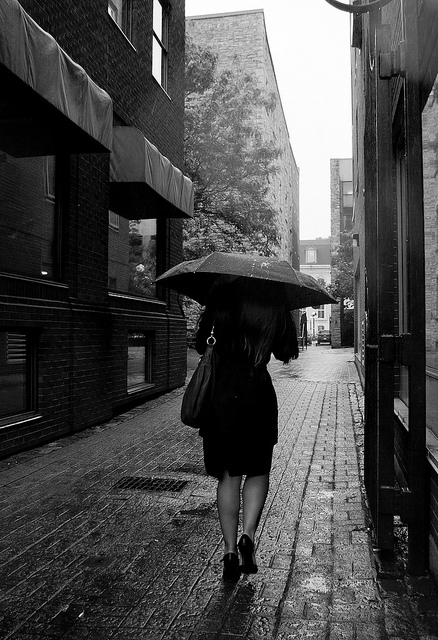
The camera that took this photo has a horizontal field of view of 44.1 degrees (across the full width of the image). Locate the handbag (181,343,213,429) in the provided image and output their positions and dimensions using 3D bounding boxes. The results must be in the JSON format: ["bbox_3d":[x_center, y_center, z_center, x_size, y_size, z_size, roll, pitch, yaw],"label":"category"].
[{"bbox_3d":[-0.118,0.327,2.588,0.157,0.430,0.210,-2,2,-36],"label":"handbag"}]

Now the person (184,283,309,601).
[{"bbox_3d":[0.104,0.502,2.587,0.529,1.366,0.512,-1,2,3],"label":"person"}]

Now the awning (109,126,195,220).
[{"bbox_3d":[-1.156,-2.444,9.668,0.774,1.308,3.542,-1,3,9],"label":"awning"}]
